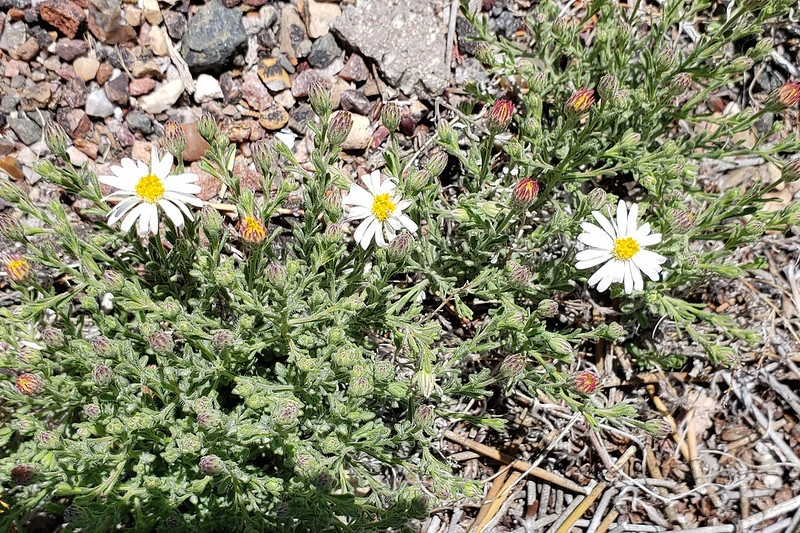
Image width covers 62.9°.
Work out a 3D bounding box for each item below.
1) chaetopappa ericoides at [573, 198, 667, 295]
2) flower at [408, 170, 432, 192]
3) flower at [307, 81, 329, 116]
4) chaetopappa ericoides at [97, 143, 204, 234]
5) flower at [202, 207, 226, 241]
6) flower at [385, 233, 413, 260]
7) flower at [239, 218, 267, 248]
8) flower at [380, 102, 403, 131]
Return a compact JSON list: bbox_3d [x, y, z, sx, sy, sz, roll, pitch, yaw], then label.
[{"bbox_3d":[1.278,-0.099,3.915,0.529,0.556,0.143,-32,1,-5],"label":"chaetopappa ericoides"},{"bbox_3d":[0.106,-0.502,3.743,0.155,0.101,0.122,-19,-9,-4],"label":"flower"},{"bbox_3d":[-0.478,-0.991,3.896,0.094,0.218,0.110,-17,24,-14],"label":"flower"},{"bbox_3d":[-1.410,-0.403,3.719,0.495,0.138,0.532,9,25,12],"label":"chaetopappa ericoides"},{"bbox_3d":[-1.051,-0.252,3.712,0.088,0.112,0.193,-40,-11,-24],"label":"flower"},{"bbox_3d":[0.001,-0.116,3.558,0.164,0.106,0.089,-38,-7,-6],"label":"flower"},{"bbox_3d":[-0.803,-0.198,3.601,0.155,0.186,0.082,-4,18,15],"label":"flower"},{"bbox_3d":[-0.033,-0.904,3.984,0.113,0.219,0.153,-8,7,-35],"label":"flower"}]
